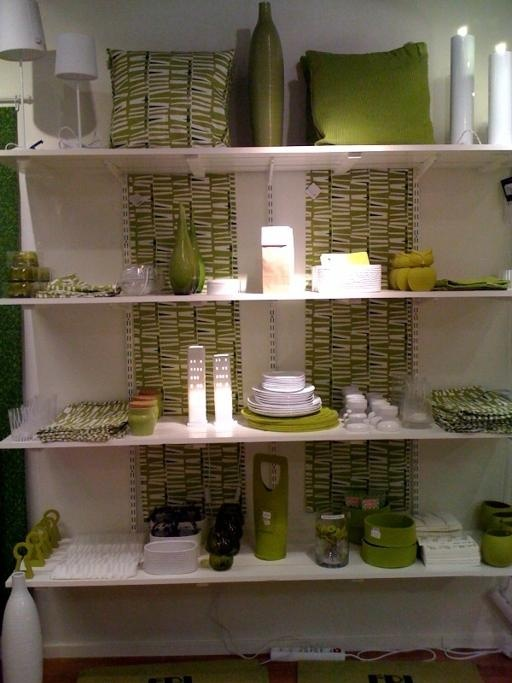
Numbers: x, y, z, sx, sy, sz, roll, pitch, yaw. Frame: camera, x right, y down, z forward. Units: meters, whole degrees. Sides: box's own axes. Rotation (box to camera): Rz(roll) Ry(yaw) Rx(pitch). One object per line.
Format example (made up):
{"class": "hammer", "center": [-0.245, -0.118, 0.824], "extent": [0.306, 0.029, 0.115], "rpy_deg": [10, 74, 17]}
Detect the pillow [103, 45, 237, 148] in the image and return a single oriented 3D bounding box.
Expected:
{"class": "pillow", "center": [-0.300, -0.845, 2.237], "extent": [0.440, 0.393, 0.159], "rpy_deg": [-1, -2, 2]}

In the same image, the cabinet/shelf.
{"class": "cabinet/shelf", "center": [-0.070, 0.164, 2.444], "extent": [1.872, 1.700, 0.562], "rpy_deg": [-1, -3, -2]}

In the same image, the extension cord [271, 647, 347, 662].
{"class": "extension cord", "center": [0.193, 1.208, 2.509], "extent": [0.284, 0.037, 0.105], "rpy_deg": [-1, 3, 1]}

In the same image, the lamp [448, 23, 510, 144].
{"class": "lamp", "center": [0.778, -0.874, 2.302], "extent": [0.193, 0.438, 0.342], "rpy_deg": [-1, 2, 9]}

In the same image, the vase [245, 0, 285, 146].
{"class": "vase", "center": [0.028, -0.918, 2.231], "extent": [0.116, 0.533, 0.166], "rpy_deg": [-1, 2, 3]}

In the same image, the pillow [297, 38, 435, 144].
{"class": "pillow", "center": [0.393, -0.877, 2.284], "extent": [0.430, 0.385, 0.111], "rpy_deg": [-1, 2, -4]}
